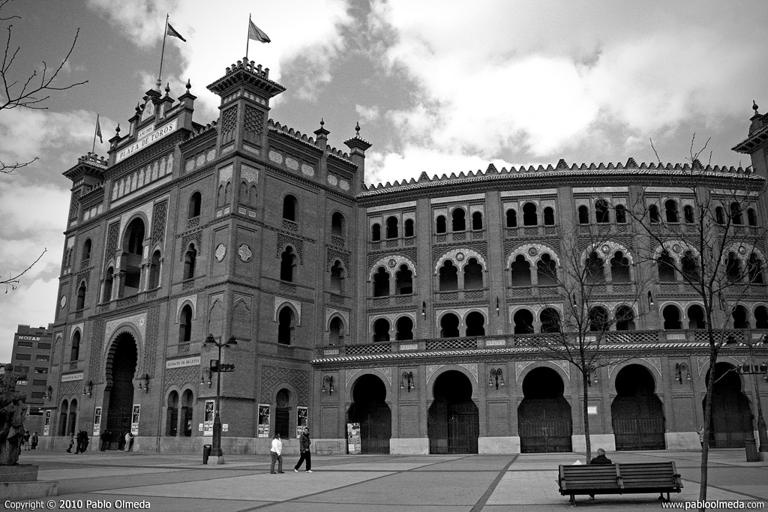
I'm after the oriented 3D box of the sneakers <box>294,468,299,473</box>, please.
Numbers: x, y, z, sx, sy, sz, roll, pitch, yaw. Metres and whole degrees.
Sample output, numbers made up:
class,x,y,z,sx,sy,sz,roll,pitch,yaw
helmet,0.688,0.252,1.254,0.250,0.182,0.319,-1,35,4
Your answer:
class,x,y,z,sx,sy,sz,roll,pitch,yaw
sneakers,-4.354,10.494,31.382,0.251,0.098,0.339,3,-7,-27

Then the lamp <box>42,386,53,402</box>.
class,x,y,z,sx,sy,sz,roll,pitch,yaw
lamp,-30.578,12.464,57.806,0.351,1.349,1.738,15,-25,-36

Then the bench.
class,x,y,z,sx,sy,sz,roll,pitch,yaw
bench,7.749,7.435,20.882,3.603,1.145,1.067,-6,-13,15

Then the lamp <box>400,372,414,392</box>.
class,x,y,z,sx,sy,sz,roll,pitch,yaw
lamp,1.679,8.871,45.273,0.989,1.391,0.409,-3,-20,6

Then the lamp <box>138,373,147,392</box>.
class,x,y,z,sx,sy,sz,roll,pitch,yaw
lamp,-18.557,9.651,48.799,1.008,1.243,0.343,-15,-24,34

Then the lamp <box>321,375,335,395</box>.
class,x,y,z,sx,sy,sz,roll,pitch,yaw
lamp,-4.223,9.617,47.583,1.090,1.343,0.457,-12,-23,29

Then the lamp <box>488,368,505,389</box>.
class,x,y,z,sx,sy,sz,roll,pitch,yaw
lamp,7.758,8.371,43.808,1.092,1.358,0.345,-4,-20,8

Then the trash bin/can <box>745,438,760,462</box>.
class,x,y,z,sx,sy,sz,roll,pitch,yaw
trash bin/can,18.707,9.812,32.308,0.645,1.109,1.317,-11,-22,27

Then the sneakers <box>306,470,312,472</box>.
class,x,y,z,sx,sy,sz,roll,pitch,yaw
sneakers,-3.667,10.454,31.016,0.198,0.077,0.089,-3,-9,14

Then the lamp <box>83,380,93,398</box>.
class,x,y,z,sx,sy,sz,roll,pitch,yaw
lamp,-24.696,11.010,53.058,0.989,1.422,0.283,-15,-24,34
